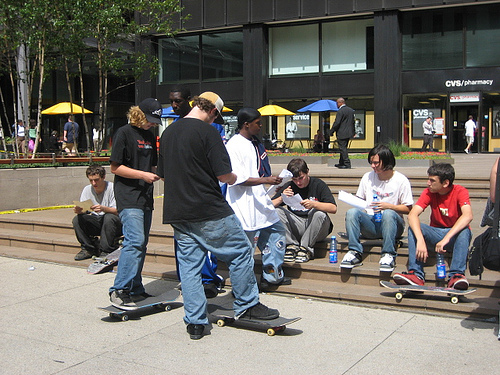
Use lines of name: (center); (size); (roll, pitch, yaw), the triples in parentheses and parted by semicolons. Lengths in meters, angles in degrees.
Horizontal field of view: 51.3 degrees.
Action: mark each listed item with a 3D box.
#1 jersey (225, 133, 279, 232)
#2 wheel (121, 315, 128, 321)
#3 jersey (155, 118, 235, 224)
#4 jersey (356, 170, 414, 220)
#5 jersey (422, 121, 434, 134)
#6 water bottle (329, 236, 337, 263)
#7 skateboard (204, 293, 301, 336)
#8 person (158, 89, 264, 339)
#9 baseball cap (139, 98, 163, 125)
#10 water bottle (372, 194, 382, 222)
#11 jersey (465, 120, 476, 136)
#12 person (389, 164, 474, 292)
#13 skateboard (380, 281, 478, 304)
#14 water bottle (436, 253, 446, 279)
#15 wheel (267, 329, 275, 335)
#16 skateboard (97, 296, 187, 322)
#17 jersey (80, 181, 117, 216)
jersey: (-0.167, -0.071, 6.751); (0.413, 1.112, 0.788); (-11, -4, -13)
wheel: (-1.505, 1.563, 6.269); (0.081, 0.078, 0.104); (-5, 14, -14)
jersey: (-0.657, -0.206, 5.969); (0.962, 1.131, 0.593); (-2, -1, 27)
jersey: (1.937, 0.061, 7.415); (0.771, 0.643, 0.390); (6, 18, 35)
jersey: (8.239, -2.798, 24.137); (0.583, 0.623, 0.333); (-8, -7, 1)
water bottle: (1.186, 0.885, 7.431); (0.127, 0.360, 0.342); (1, 13, 9)
skateboard: (-0.088, 1.508, 6.045); (1.355, 0.257, 0.433); (5, 8, 30)
person: (-0.476, 0.316, 5.839); (0.954, 2.565, 0.685); (-4, 13, -12)
baseball cap: (-1.209, -0.945, 6.531); (0.311, 0.321, 0.209); (5, 14, 25)
water bottle: (1.757, 0.294, 7.239); (0.138, 0.368, 0.278); (2, 13, 13)
jersey: (9.989, -2.702, 23.753); (0.378, 0.732, 0.328); (4, 14, 23)
person: (2.605, 0.536, 6.826); (0.960, 1.700, 1.557); (1, 1, 39)
skateboard: (2.209, 1.285, 6.349); (1.262, 0.234, 0.324); (0, 6, 19)
water bottle: (2.389, 0.983, 6.520); (0.110, 0.336, 0.135); (3, 13, 21)
wheel: (0.228, 1.614, 5.833); (0.086, 0.082, 0.067); (3, 13, 18)
skateboard: (-1.241, 1.380, 6.430); (1.270, 0.201, 0.324); (-4, 7, -39)
jersey: (-2.472, 0.169, 8.553); (0.602, 0.514, 0.327); (1, 15, -14)
